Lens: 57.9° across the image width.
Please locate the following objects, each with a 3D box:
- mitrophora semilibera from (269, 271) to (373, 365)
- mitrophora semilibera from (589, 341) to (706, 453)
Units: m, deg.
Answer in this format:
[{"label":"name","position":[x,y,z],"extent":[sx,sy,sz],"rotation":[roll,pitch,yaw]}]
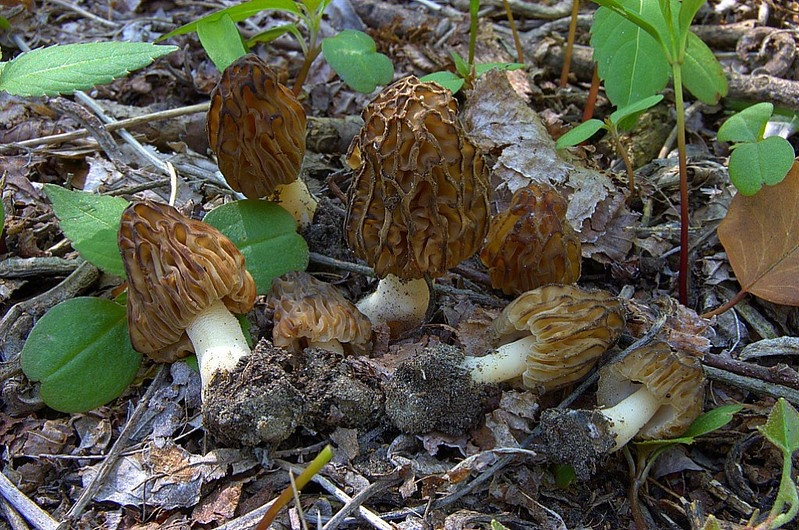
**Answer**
[{"label":"mitrophora semilibera","position":[-0.409,0.250,3.655],"extent":[0.425,0.216,0.437],"rotation":[-12,63,-38]},{"label":"mitrophora semilibera","position":[1.196,0.618,3.440],"extent":[0.518,0.238,0.433],"rotation":[-16,71,-9]}]
